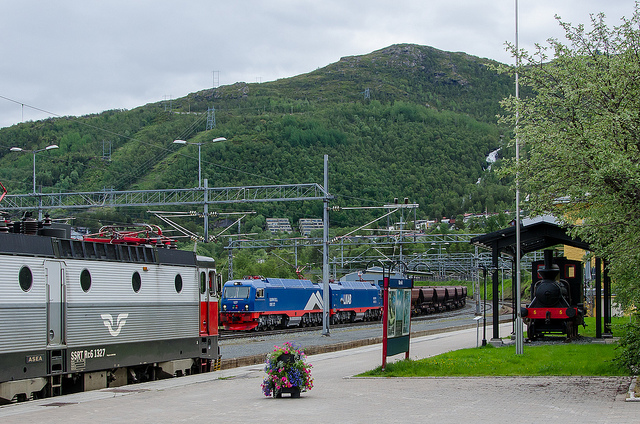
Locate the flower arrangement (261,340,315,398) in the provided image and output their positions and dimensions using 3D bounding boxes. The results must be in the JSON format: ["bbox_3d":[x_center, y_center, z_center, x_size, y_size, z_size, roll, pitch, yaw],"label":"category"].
[{"bbox_3d":[-1.078,5.163,30.159,1.601,1.739,0.593,-2,-6,-6],"label":"flower arrangement"}]

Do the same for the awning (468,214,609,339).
[{"bbox_3d":[10.505,1.853,44.068,5.120,4.380,6.629,-1,-6,12],"label":"awning"}]

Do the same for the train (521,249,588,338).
[{"bbox_3d":[12.632,4.495,48.656,3.587,4.197,7.759,0,-5,19],"label":"train"}]
